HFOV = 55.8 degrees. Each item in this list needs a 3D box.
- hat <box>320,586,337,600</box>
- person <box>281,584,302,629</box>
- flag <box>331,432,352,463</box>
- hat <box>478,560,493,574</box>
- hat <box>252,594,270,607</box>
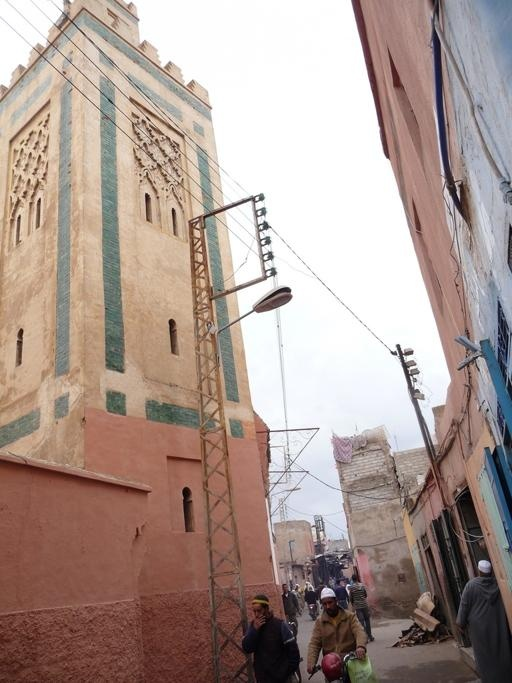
[{"bbox_3d":[0.665,2.248,4.399,0.163,0.138,0.168,-4,-21,0],"label":"hat"},{"bbox_3d":[1.024,7.765,14.177,0.516,1.370,0.280,-12,-5,16],"label":"person"},{"bbox_3d":[5.019,6.086,27.570,1.153,1.669,0.464,-13,-26,4],"label":"flag"},{"bbox_3d":[2.615,2.521,5.476,0.156,0.120,0.207,1,-20,11],"label":"hat"},{"bbox_3d":[0.047,2.506,4.693,0.121,0.145,0.152,3,-34,12],"label":"hat"}]
